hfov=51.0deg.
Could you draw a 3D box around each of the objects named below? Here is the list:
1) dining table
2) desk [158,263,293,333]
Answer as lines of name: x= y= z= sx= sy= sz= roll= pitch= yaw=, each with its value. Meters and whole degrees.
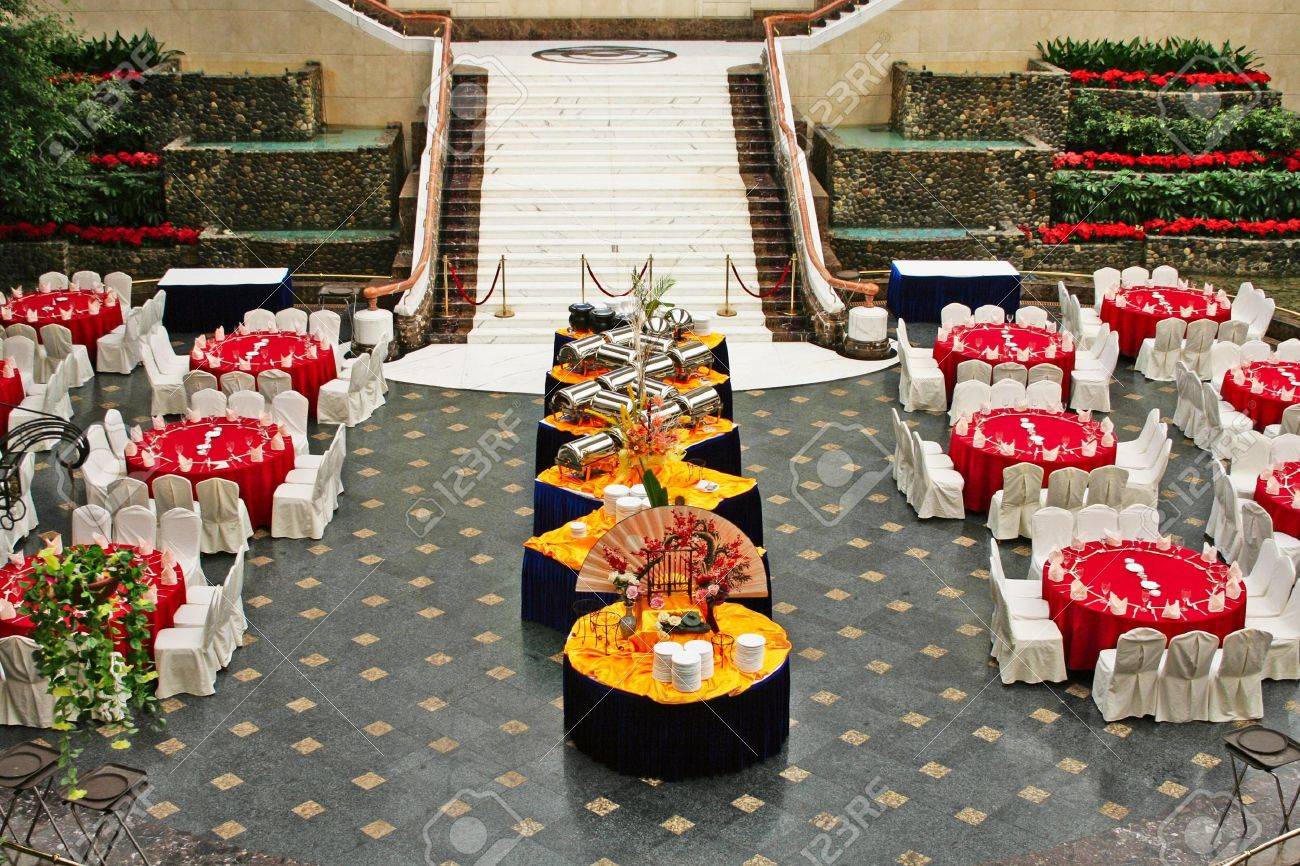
dining table: x=0.169 y=1.482 z=12.762 sx=1.902 sy=1.325 sz=3.258 roll=-1 pitch=24 yaw=-1
desk: x=-6.682 y=-2.272 z=21.335 sx=1.740 sy=0.800 sz=1.091 roll=-1 pitch=36 yaw=-4
